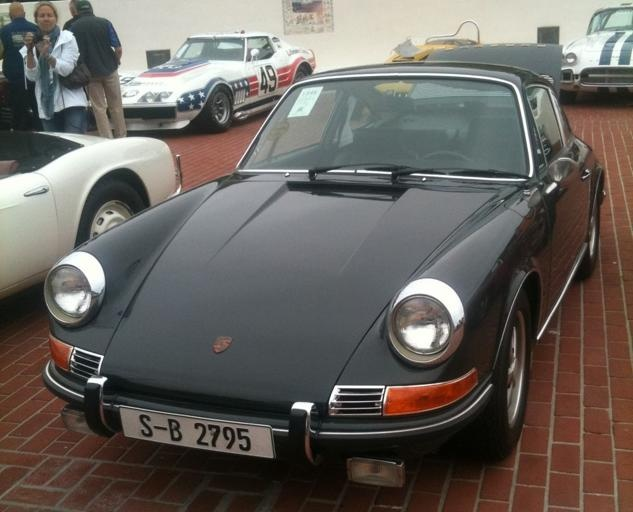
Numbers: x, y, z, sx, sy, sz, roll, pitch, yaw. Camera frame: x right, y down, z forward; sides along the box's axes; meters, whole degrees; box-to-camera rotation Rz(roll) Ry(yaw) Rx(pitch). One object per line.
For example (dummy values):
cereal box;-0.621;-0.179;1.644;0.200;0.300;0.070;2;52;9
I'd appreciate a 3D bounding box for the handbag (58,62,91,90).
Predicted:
handbag;-3.060;-2.246;6.063;0.162;0.318;0.330;-20;32;37
